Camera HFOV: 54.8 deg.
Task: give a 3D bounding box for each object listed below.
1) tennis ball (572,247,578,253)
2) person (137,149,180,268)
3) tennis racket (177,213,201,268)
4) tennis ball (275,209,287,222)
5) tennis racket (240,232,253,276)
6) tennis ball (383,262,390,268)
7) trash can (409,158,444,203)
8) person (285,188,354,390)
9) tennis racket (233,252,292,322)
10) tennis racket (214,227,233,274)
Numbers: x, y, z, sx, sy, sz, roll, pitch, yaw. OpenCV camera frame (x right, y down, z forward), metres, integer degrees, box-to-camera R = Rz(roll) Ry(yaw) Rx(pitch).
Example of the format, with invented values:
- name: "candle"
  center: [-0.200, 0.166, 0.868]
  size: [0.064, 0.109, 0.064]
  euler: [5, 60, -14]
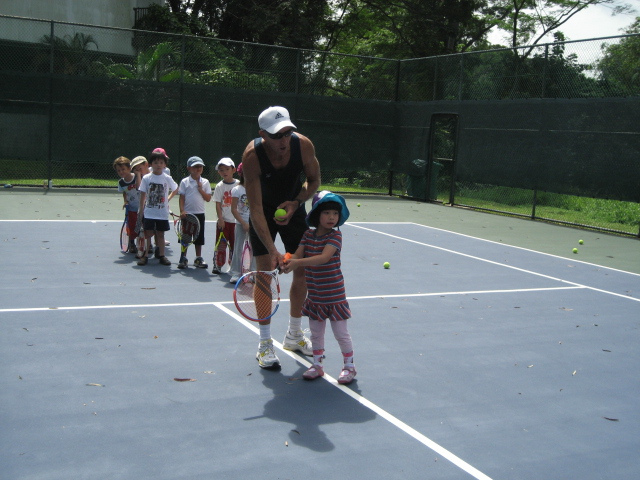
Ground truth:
- name: "tennis ball"
  center: [4.632, 0.176, 11.182]
  size: [0.093, 0.066, 0.113]
  euler: [-1, 2, 4]
- name: "person"
  center: [-2.254, -0.466, 8.627]
  size: [0.540, 1.560, 0.743]
  euler: [0, 11, -14]
- name: "tennis racket"
  center: [-1.869, 0.041, 8.629]
  size: [0.378, 1.007, 0.048]
  euler: [22, 39, -2]
- name: "tennis ball"
  center: [-0.317, -0.209, 5.167]
  size: [0.082, 0.103, 0.086]
  euler: [2, 8, 0]
- name: "tennis racket"
  center: [-0.875, 0.089, 7.492]
  size: [0.129, 0.584, 0.028]
  euler: [8, 24, 3]
- name: "tennis ball"
  center: [0.998, 0.358, 9.106]
  size: [0.064, 0.069, 0.064]
  euler: [-3, -3, 0]
- name: "trash can"
  center: [3.192, -1.853, 19.133]
  size: [0.922, 1.270, 1.044]
  euler: [11, -4, -7]
- name: "person"
  center: [0.008, 0.352, 5.194]
  size: [0.591, 1.530, 0.774]
  euler: [2, 10, -2]
- name: "tennis racket"
  center: [-0.428, 0.374, 5.144]
  size: [0.399, 0.091, 0.715]
  euler: [19, 55, 14]
- name: "tennis racket"
  center: [-1.297, 0.128, 8.336]
  size: [0.231, 0.608, 0.706]
  euler: [1, 11, -10]
